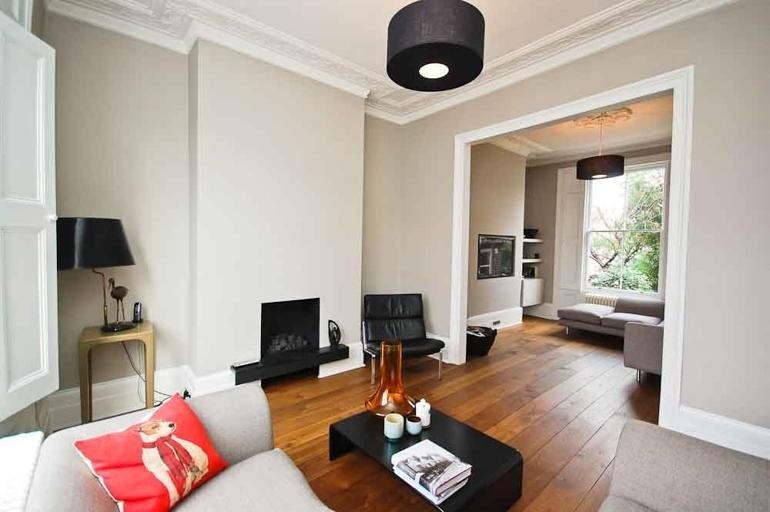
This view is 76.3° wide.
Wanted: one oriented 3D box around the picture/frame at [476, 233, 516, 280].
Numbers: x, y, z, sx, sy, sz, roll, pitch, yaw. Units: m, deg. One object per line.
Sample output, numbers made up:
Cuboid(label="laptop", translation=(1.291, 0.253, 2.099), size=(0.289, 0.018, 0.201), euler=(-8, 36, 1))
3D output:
Cuboid(label="picture/frame", translation=(1.788, 0.001, 7.809), size=(1.039, 0.713, 0.045), euler=(-5, 4, -43))

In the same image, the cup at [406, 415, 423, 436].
Cuboid(label="cup", translation=(0.236, 1.395, 4.009), size=(0.130, 0.096, 0.131), euler=(-1, -3, 0))

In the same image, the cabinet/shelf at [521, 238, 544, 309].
Cuboid(label="cabinet/shelf", translation=(2.634, 0.325, 8.704), size=(0.371, 1.346, 0.776), euler=(-2, 3, 18))

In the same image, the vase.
Cuboid(label="vase", translation=(0.067, 1.105, 4.482), size=(0.558, 0.792, 0.576), euler=(1, -4, 5))

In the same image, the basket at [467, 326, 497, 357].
Cuboid(label="basket", translation=(1.320, 1.156, 6.572), size=(0.406, 0.285, 0.332), euler=(7, -10, -39))

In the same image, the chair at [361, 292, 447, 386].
Cuboid(label="chair", translation=(0.263, 0.964, 6.055), size=(1.181, 1.138, 0.913), euler=(0, -2, -22))
